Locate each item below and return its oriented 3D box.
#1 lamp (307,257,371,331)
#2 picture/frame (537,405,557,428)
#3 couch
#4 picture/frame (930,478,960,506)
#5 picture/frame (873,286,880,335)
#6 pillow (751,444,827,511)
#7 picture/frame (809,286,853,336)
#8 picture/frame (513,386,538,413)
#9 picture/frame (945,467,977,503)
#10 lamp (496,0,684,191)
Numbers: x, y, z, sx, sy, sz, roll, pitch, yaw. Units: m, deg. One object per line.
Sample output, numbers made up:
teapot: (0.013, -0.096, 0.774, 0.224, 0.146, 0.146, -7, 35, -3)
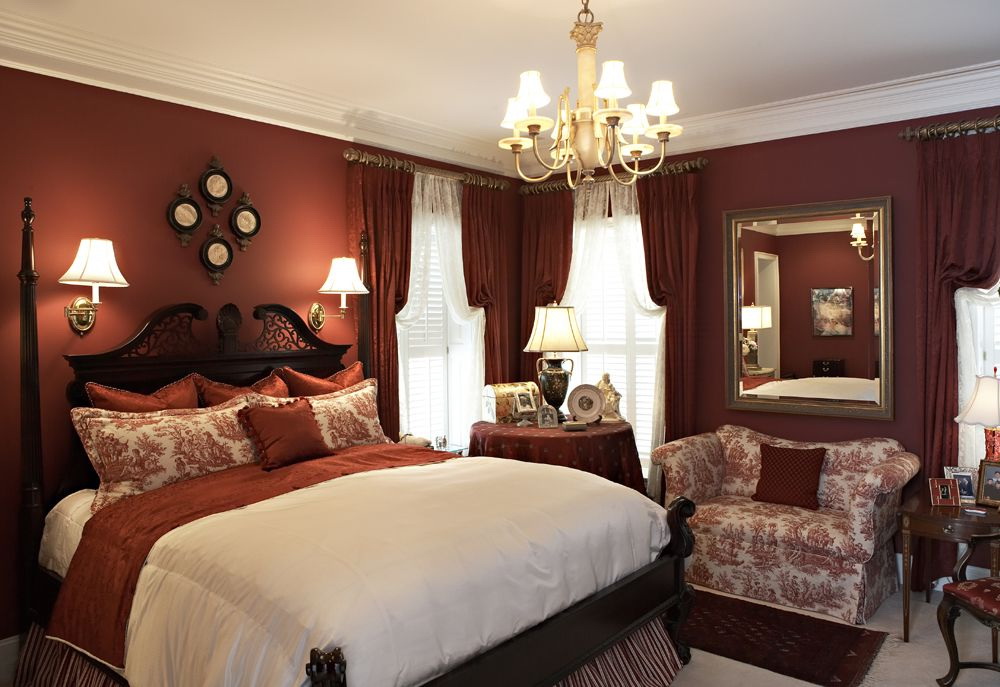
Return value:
lamp: (-1.358, -0.391, 5.785, 0.572, 0.757, 0.479, -3, -3, 38)
picture/frame: (0.406, 0.626, 5.896, 0.147, 0.162, 0.057, 2, -14, -15)
couch: (2.181, 1.394, 5.206, 1.904, 1.362, 1.172, -3, -6, 39)
picture/frame: (3.080, 1.024, 4.766, 0.173, 0.194, 0.023, -5, -38, 28)
picture/frame: (3.017, -0.266, 5.528, 0.053, 0.383, 0.025, 1, 5, 43)
pillow: (2.270, 0.989, 5.564, 0.718, 0.679, 0.385, -2, -11, 35)
picture/frame: (2.754, -0.268, 5.709, 0.376, 0.543, 0.038, -2, -3, 44)
picture/frame: (0.235, 0.501, 6.174, 0.165, 0.235, 0.082, 6, -37, -21)
picture/frame: (3.196, 0.988, 4.784, 0.193, 0.209, 0.023, 6, -38, 17)
lamp: (0.633, -1.678, 4.568, 1.077, 1.442, 1.080, -1, -3, -5)
